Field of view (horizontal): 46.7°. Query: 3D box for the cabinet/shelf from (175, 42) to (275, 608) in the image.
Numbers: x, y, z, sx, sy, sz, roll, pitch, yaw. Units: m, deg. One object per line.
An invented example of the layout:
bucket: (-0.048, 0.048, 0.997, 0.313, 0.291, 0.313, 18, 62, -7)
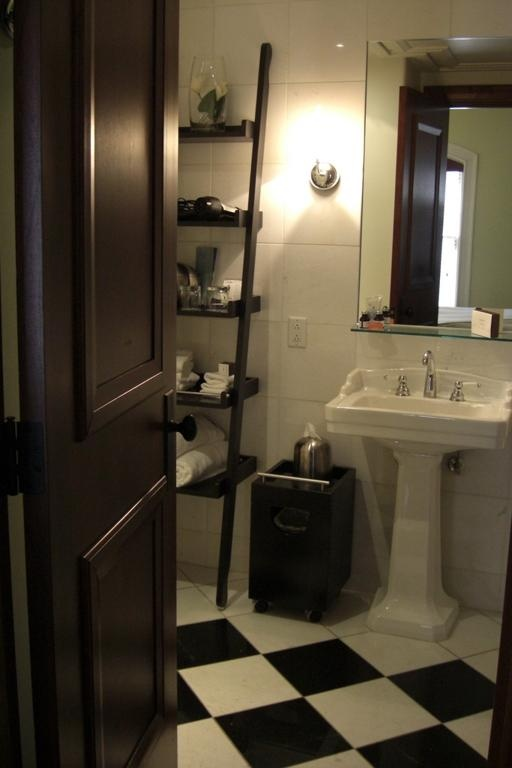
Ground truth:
cabinet/shelf: (-0.132, -0.231, 2.455, 0.396, 2.292, 0.266, -3, 6, -32)

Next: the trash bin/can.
trash bin/can: (0.189, 0.555, 2.542, 0.417, 0.857, 0.499, 3, 7, 22)

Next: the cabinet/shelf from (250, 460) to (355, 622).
cabinet/shelf: (0.193, 0.633, 2.479, 0.366, 0.569, 0.406, 3, 6, 21)

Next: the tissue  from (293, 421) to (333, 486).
tissue : (0.247, 0.289, 2.482, 0.119, 0.250, 0.131, 4, 12, 27)
